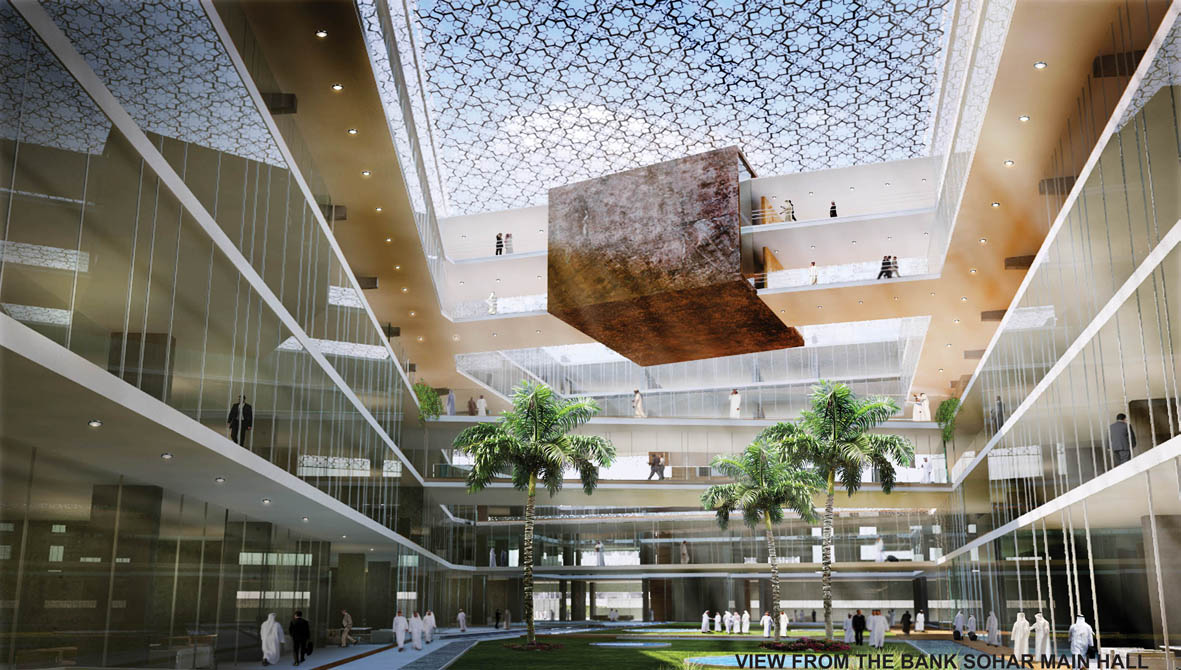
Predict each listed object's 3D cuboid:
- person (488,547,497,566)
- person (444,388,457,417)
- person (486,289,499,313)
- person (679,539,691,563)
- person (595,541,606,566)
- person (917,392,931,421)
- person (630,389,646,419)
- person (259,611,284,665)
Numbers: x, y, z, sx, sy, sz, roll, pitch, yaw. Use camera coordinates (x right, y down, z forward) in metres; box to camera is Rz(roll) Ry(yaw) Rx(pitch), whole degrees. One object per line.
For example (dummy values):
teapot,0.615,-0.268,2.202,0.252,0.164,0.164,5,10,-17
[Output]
person,-6.249,14.695,55.343,0.443,1.156,0.297,5,-26,-14
person,-7.639,3.774,46.603,0.649,1.828,0.952,-1,-25,0
person,-4.287,-1.442,37.462,0.478,1.181,1.083,7,-26,-17
person,5.984,13.579,52.352,0.660,1.284,0.555,-3,-26,3
person,0.758,14.231,54.413,0.443,1.419,0.760,22,-34,-39
person,18.640,3.991,46.898,0.647,1.695,0.182,-3,-26,4
person,2.907,4.161,49.775,0.697,0.543,1.308,2,19,10
person,-9.729,9.376,25.852,0.480,1.494,1.323,2,-25,-8
